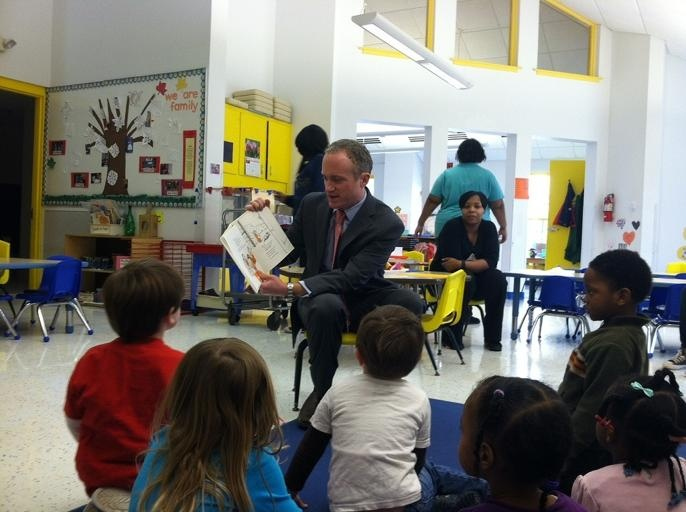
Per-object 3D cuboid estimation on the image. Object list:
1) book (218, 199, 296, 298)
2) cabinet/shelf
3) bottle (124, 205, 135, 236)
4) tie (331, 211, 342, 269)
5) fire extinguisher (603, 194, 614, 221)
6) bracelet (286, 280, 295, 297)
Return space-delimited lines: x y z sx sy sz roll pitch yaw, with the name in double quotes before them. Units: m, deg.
"book" -0.432 -0.019 2.935 0.146 0.405 0.421 -22 22 38
"cabinet/shelf" -1.231 -1.317 7.909 0.424 1.210 1.394 -7 -8 42
"bottle" -2.625 -0.442 7.017 0.167 0.375 0.128 2 3 7
"tie" -0.026 -0.089 3.060 0.045 0.325 0.038 2 -20 9
"fire extinguisher" 4.401 -0.805 9.453 0.186 0.487 0.125 2 3 -4
"bracelet" -0.265 0.174 2.878 0.049 0.083 0.084 0 2 -8
